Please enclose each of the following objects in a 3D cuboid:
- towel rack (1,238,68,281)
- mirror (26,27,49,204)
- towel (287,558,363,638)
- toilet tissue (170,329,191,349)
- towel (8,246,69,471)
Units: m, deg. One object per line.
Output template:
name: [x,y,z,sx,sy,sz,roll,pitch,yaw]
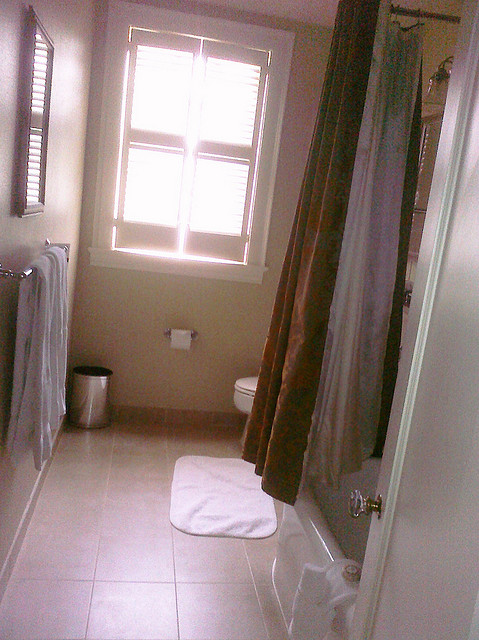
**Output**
towel rack: [-0.669,-0.200,1.610,0.086,0.125,0.939,3,7,-13]
mirror: [-0.618,-0.603,1.486,0.043,0.486,0.244,1,6,-22]
towel: [0.196,0.650,1.117,0.144,0.188,0.141,7,6,22]
toilet tissue: [-0.389,0.131,3.218,0.096,0.140,0.115,3,-5,-19]
towel: [-0.621,0.118,1.503,0.063,0.666,0.392,-1,12,-12]
